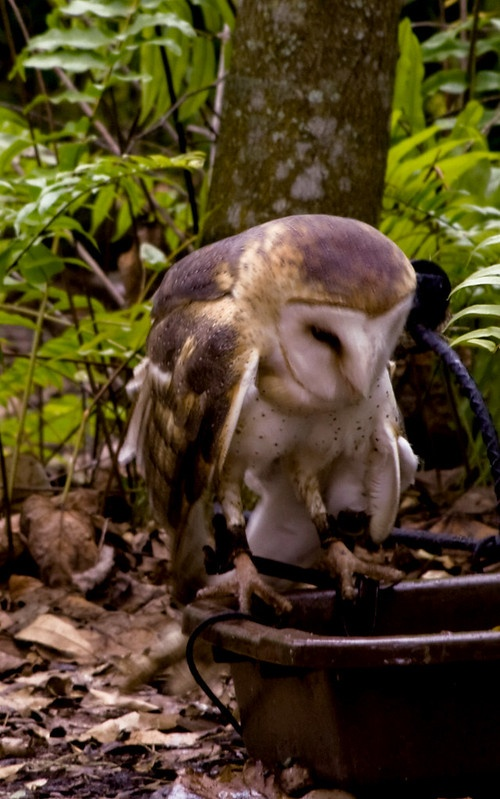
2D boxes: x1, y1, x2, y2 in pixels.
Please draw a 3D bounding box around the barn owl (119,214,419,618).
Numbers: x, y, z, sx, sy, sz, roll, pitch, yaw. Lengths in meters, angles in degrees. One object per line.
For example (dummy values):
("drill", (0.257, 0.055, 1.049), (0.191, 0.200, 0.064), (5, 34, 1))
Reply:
("barn owl", (0.039, 0.008, 1.769), (0.563, 0.705, 0.629), (-1, 12, -13))
